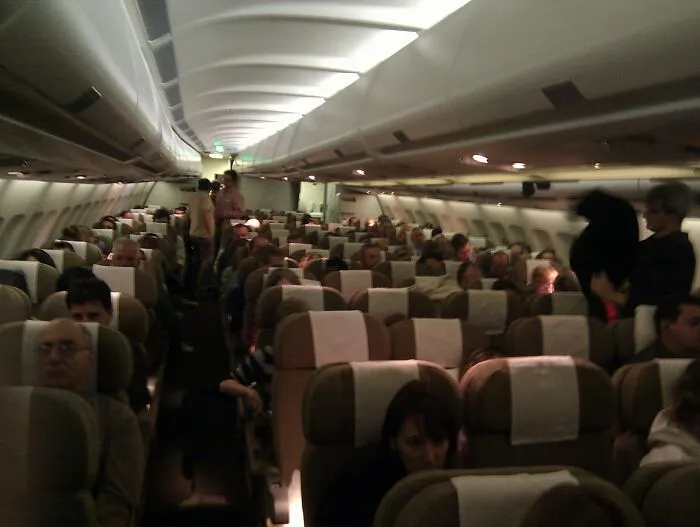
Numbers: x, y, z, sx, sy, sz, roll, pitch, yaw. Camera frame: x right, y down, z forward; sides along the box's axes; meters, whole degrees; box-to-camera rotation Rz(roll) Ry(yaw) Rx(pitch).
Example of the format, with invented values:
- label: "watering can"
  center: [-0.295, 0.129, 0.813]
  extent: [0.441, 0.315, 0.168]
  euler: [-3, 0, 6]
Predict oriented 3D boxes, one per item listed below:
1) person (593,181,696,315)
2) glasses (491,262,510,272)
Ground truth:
- label: "person"
  center: [1.371, -0.148, 2.746]
  extent: [0.605, 0.747, 0.588]
  euler: [2, 24, 22]
- label: "glasses"
  center: [1.885, 0.051, 6.668]
  extent: [0.125, 0.112, 0.142]
  euler: [1, 19, 1]
